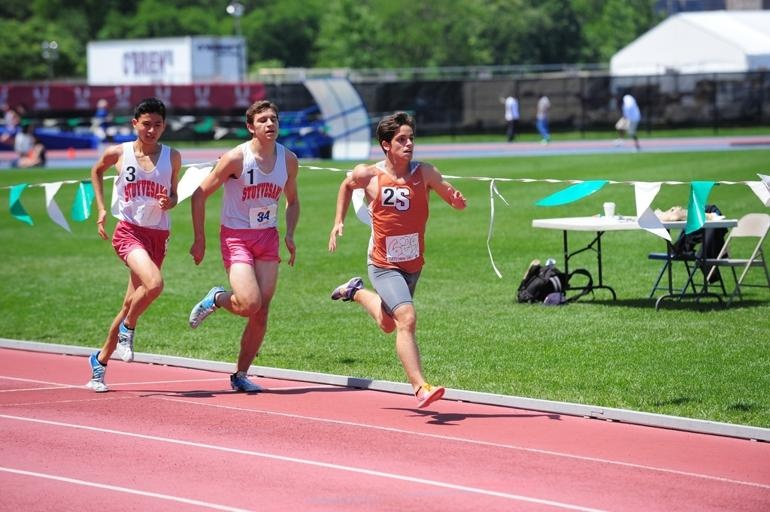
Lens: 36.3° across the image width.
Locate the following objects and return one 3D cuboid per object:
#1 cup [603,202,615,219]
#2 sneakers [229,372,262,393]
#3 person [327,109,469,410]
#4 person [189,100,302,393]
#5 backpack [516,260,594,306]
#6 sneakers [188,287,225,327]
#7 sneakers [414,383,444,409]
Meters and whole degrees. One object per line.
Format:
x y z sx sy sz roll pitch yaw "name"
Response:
3.219 -0.673 16.814 0.165 0.205 0.316 2 11 9 "cup"
-1.595 1.492 13.899 0.435 0.182 0.165 10 12 23 "sneakers"
0.163 0.016 13.428 0.901 3.264 1.600 -8 13 -35 "person"
-1.598 -0.107 13.748 1.287 3.377 0.834 -4 11 -19 "person"
2.300 0.386 16.552 0.764 0.506 0.394 1 0 -6 "backpack"
-2.283 0.684 15.291 0.263 0.658 0.225 49 7 39 "sneakers"
0.512 1.539 13.067 0.371 0.172 0.176 -34 -35 30 "sneakers"
